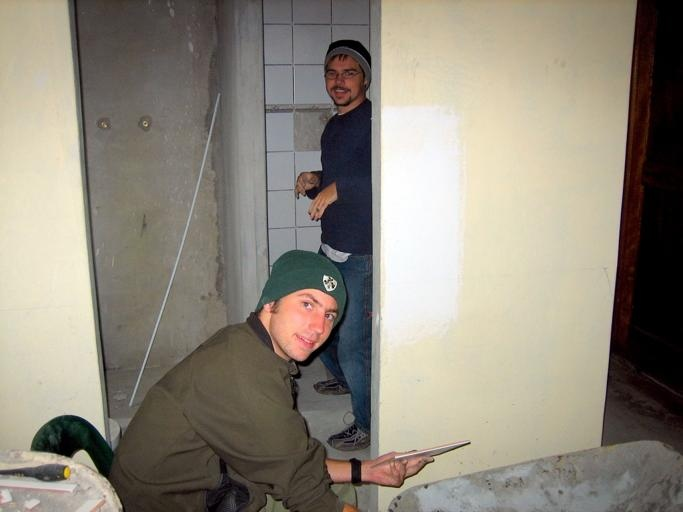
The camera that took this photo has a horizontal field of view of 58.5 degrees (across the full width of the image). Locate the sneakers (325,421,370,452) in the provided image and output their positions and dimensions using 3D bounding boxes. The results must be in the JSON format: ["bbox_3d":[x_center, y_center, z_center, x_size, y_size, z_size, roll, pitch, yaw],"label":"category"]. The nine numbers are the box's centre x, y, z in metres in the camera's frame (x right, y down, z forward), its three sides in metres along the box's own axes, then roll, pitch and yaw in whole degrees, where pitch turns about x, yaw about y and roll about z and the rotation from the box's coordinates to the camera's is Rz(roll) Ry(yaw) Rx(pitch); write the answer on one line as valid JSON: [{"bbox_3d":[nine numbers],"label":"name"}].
[{"bbox_3d":[0.046,0.969,3.295,0.253,0.119,0.105,1,10,-7],"label":"sneakers"}]

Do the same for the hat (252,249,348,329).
[{"bbox_3d":[-0.164,0.073,2.351,0.235,0.194,0.245,12,-10,-9],"label":"hat"}]

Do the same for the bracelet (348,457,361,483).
[{"bbox_3d":[0.062,0.869,2.457,0.029,0.083,0.079,-1,17,3],"label":"bracelet"}]

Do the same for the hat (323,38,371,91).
[{"bbox_3d":[0.050,-1.134,3.499,0.200,0.294,0.215,-12,-7,13],"label":"hat"}]

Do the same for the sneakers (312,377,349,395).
[{"bbox_3d":[-0.058,0.778,3.639,0.149,0.060,0.103,5,11,-6],"label":"sneakers"}]
